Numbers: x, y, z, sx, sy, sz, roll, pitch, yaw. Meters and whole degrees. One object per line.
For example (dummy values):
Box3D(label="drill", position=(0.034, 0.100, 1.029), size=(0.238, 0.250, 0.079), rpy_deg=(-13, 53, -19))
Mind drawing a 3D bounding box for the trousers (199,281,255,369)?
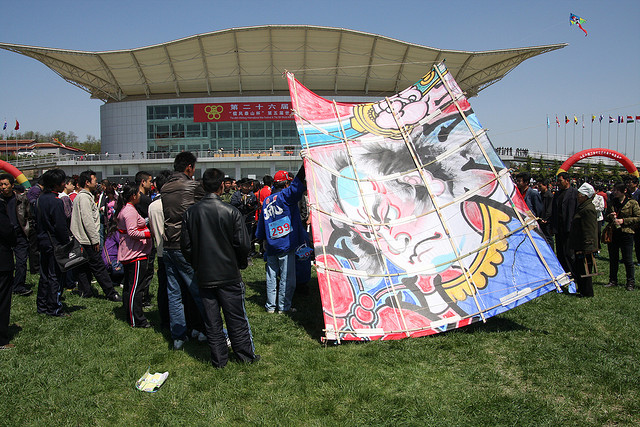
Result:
Box3D(label="trousers", position=(-1.734, 2.069, 8.675), size=(0.950, 1.522, 0.395), rpy_deg=(-2, 4, -21))

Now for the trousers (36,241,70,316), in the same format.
Box3D(label="trousers", position=(-5.942, 1.332, 10.360), size=(0.820, 1.923, 0.569), rpy_deg=(-1, 2, 35))

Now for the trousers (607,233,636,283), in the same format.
Box3D(label="trousers", position=(8.085, 1.146, 12.343), size=(0.580, 1.257, 0.771), rpy_deg=(2, 5, 33))

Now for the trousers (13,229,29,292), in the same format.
Box3D(label="trousers", position=(-7.481, 1.145, 11.541), size=(0.353, 1.604, 1.127), rpy_deg=(-3, 5, -34))

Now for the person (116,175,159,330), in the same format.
Box3D(label="person", position=(-3.936, 0.872, 9.944), size=(0.730, 3.114, 0.899), rpy_deg=(-2, 4, -27))

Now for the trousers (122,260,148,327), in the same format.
Box3D(label="trousers", position=(-3.937, 1.705, 9.859), size=(0.509, 1.419, 0.262), rpy_deg=(-1, 4, -14))

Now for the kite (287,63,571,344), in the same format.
Box3D(label="kite", position=(2.260, 0.313, 11.222), size=(7.670, 5.986, 1.630), rpy_deg=(-10, -19, -43))
